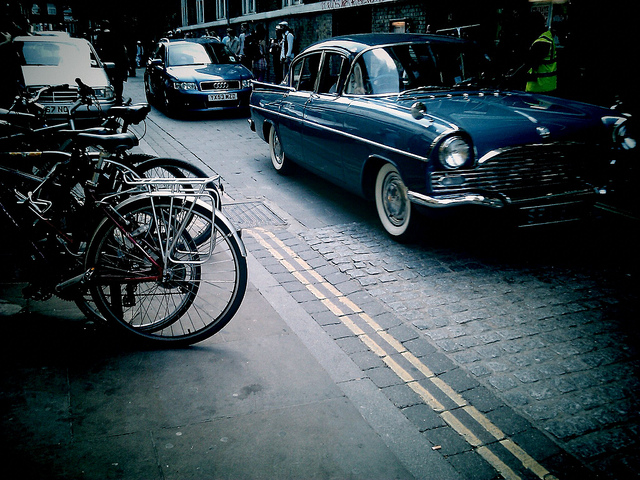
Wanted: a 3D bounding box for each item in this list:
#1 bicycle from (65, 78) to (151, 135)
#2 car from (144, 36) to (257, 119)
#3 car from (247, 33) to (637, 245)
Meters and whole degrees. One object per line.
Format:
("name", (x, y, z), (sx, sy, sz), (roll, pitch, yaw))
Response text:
("bicycle", (-2.109, -1.319, 4.527), (0.656, 0.402, 0.977), (2, 1, 1))
("car", (-3.531, -4.868, 13.742), (2.724, 2.377, 3.083), (-6, 20, -15))
("car", (1.062, -1.523, 6.258), (2.770, 1.363, 4.363), (-9, 23, -29))
